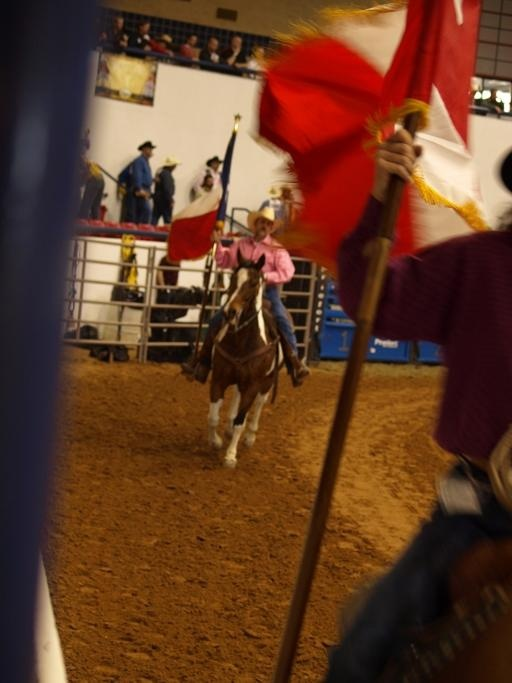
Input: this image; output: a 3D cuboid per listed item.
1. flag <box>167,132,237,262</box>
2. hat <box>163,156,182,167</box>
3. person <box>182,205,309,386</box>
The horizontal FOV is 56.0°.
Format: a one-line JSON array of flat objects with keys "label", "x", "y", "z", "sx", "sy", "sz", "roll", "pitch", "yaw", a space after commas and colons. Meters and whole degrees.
[{"label": "flag", "x": -0.840, "y": -2.784, "z": 8.640, "sx": 0.940, "sy": 3.161, "sz": 0.202, "roll": 9, "pitch": -18, "yaw": 5}, {"label": "hat", "x": -1.957, "y": -4.131, "z": 11.148, "sx": 0.246, "sy": 0.130, "sz": 0.217, "roll": -5, "pitch": 1, "yaw": -30}, {"label": "person", "x": -0.081, "y": -0.608, "z": 6.264, "sx": 1.256, "sy": 2.351, "sz": 1.049, "roll": 3, "pitch": 0, "yaw": -7}]
